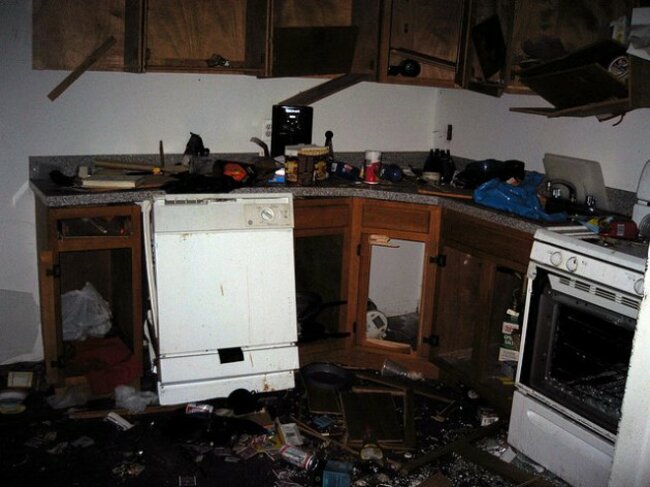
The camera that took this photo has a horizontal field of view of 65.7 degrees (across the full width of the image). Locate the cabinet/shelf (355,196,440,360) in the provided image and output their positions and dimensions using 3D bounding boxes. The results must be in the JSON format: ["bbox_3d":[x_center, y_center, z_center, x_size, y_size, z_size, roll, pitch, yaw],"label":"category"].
[{"bbox_3d":[0.516,0.196,3.536,0.646,1.099,0.668,2,10,-1],"label":"cabinet/shelf"}]

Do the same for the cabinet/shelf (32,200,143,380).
[{"bbox_3d":[-1.435,0.246,3.089,0.610,1.061,0.564,-9,14,-28],"label":"cabinet/shelf"}]

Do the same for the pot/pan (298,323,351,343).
[{"bbox_3d":[-0.022,0.578,3.252,0.254,0.037,0.158,-1,4,-2],"label":"pot/pan"}]

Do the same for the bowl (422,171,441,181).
[{"bbox_3d":[0.735,-0.456,3.410,0.147,0.065,0.149,-2,13,1],"label":"bowl"}]

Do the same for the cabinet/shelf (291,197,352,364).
[{"bbox_3d":[-0.176,0.202,3.551,0.599,1.091,0.631,-2,4,-28],"label":"cabinet/shelf"}]

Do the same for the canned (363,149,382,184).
[{"bbox_3d":[0.318,-0.515,3.366,0.115,0.212,0.127,-2,12,3],"label":"canned"}]
